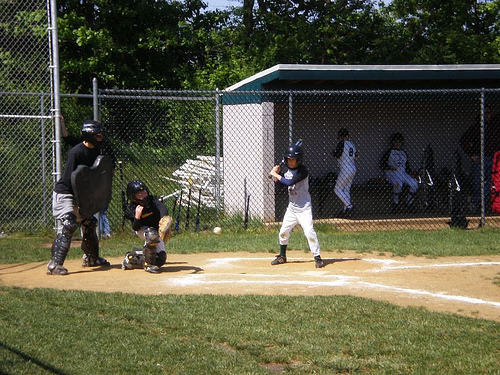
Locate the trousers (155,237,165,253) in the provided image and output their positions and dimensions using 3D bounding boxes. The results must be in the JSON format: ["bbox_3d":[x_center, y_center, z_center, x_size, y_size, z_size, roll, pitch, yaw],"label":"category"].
[{"bbox_3d":[-1.378,0.897,11.055,0.169,0.316,0.221,2,-6,-7],"label":"trousers"}]

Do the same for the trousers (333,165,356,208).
[{"bbox_3d":[2.083,-0.031,15.616,0.436,0.932,0.440,1,2,6],"label":"trousers"}]

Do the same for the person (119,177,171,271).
[{"bbox_3d":[-1.586,0.584,10.929,0.734,1.381,0.611,1,2,-8],"label":"person"}]

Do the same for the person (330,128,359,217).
[{"bbox_3d":[2.146,-0.343,16.086,0.558,2.055,1.395,1,2,8],"label":"person"}]

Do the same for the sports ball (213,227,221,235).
[{"bbox_3d":[-0.634,0.867,14.005,0.135,0.122,0.120,-4,-31,47],"label":"sports ball"}]

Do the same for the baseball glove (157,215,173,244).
[{"bbox_3d":[-1.303,0.622,10.835,0.214,0.400,0.341,1,2,-8],"label":"baseball glove"}]

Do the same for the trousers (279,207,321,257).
[{"bbox_3d":[0.760,0.639,11.425,0.673,0.980,0.324,3,-35,-3],"label":"trousers"}]

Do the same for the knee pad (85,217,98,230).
[{"bbox_3d":[-2.409,0.554,10.973,0.117,0.175,0.081,8,-6,1],"label":"knee pad"}]

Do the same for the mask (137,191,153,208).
[{"bbox_3d":[-1.617,0.211,10.980,0.152,0.197,0.204,-7,4,1],"label":"mask"}]

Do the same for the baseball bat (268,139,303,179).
[{"bbox_3d":[0.625,-0.514,12.984,0.129,1.124,0.151,43,-8,-25],"label":"baseball bat"}]

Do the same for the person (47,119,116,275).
[{"bbox_3d":[-2.568,0.136,10.807,0.979,2.308,0.601,1,2,-21],"label":"person"}]

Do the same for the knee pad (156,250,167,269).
[{"bbox_3d":[-1.366,1.083,10.886,0.150,0.224,0.097,-1,3,1],"label":"knee pad"}]

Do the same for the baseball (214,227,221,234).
[{"bbox_3d":[-0.638,0.841,13.950,0.105,0.108,0.123,28,6,3],"label":"baseball"}]
